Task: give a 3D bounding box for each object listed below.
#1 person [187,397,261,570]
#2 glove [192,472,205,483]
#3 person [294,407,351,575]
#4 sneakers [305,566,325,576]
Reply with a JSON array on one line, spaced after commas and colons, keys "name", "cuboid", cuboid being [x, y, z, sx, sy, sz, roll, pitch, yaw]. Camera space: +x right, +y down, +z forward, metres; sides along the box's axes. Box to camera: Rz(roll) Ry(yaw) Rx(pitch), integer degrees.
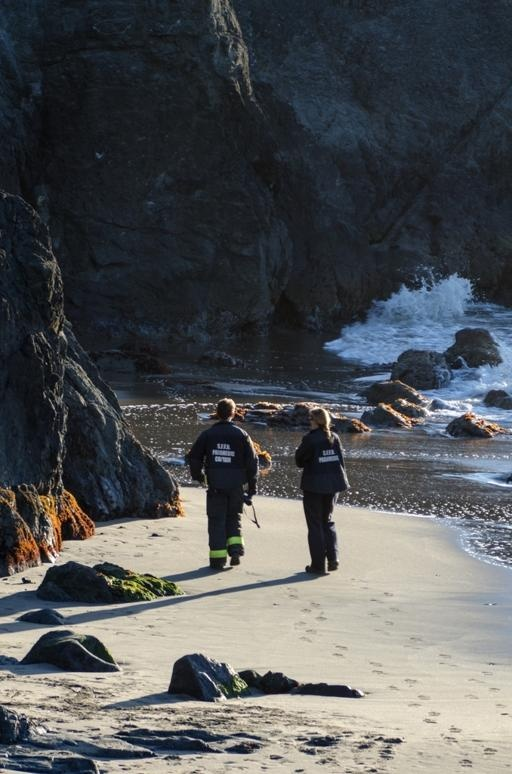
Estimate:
[{"name": "person", "cuboid": [-0.263, 0.802, 12.516, 0.554, 1.394, 0.403, 0, -1, -42]}, {"name": "glove", "cuboid": [-0.482, 0.761, 12.450, 0.083, 0.084, 0.086, 3, 14, 5]}, {"name": "person", "cuboid": [0.550, 0.869, 12.668, 0.429, 1.370, 0.673, -1, -1, 2]}, {"name": "sneakers", "cuboid": [0.492, 1.512, 12.371, 0.169, 0.074, 0.165, -1, -2, 3]}]
